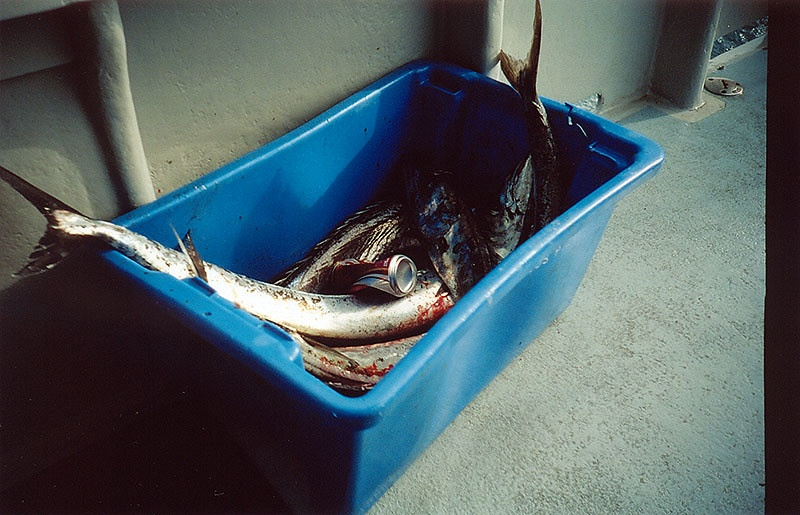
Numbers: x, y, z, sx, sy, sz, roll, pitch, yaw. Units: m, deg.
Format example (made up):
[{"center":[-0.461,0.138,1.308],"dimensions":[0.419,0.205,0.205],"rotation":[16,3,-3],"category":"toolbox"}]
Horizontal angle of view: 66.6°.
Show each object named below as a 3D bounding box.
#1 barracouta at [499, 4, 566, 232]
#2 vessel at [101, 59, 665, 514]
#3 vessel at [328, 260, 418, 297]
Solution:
[{"center":[0.440,-0.381,2.038],"dimensions":[0.144,0.899,0.152],"rotation":[-5,8,-2],"category":"barracouta"},{"center":[0.057,0.092,2.217],"dimensions":[1.136,0.746,1.662],"rotation":[37,64,22],"category":"vessel"},{"center":[-0.089,0.043,1.898],"dimensions":[0.220,0.097,0.104],"rotation":[2,39,39],"category":"vessel"}]
